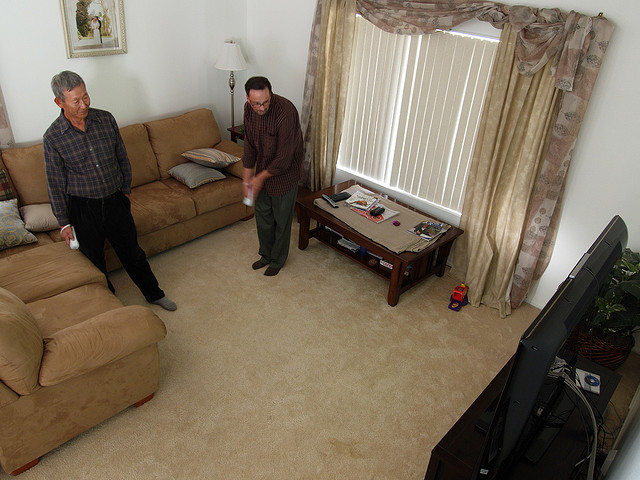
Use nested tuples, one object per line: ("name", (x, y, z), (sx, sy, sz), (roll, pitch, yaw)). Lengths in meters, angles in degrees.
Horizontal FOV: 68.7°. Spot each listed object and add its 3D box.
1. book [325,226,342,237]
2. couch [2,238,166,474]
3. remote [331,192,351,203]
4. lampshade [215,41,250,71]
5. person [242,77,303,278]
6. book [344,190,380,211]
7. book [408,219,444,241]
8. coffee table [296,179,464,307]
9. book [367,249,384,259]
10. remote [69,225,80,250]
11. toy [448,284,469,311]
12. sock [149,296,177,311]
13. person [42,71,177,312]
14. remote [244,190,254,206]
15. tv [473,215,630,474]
("book", (0.124, -0.096, 4.868), (0.144, 0.035, 0.093), (39, 18, 18))
("couch", (-1.755, 0.671, 3.234), (1.030, 0.994, 1.041), (-20, 37, -31))
("remote", (0.214, -0.447, 4.743), (0.151, 0.030, 0.096), (-21, 43, -30))
("lampshade", (-1.019, -2.113, 5.291), (0.297, 0.387, 0.351), (-5, 40, -10))
("person", (-0.428, -0.549, 4.230), (0.553, 1.800, 0.424), (-1, 29, -2))
("book", (0.423, -0.405, 4.739), (0.300, 0.036, 0.327), (18, 36, 25))
("book", (1.027, -0.116, 4.406), (0.230, 0.039, 0.382), (25, 40, 33))
("coffee table", (0.692, -0.196, 4.518), (1.022, 0.618, 1.536), (-28, 49, -34))
("book", (0.532, 0.136, 4.488), (0.089, 0.027, 0.089), (28, 20, 1))
("remote", (-1.914, -0.020, 3.658), (0.058, 0.198, 0.063), (-11, 10, -15))
("toy", (1.277, 0.532, 4.289), (0.137, 0.096, 0.257), (13, 44, 25))
("sock", (-1.362, 0.555, 4.091), (0.220, 0.101, 0.096), (13, 41, 13))
("person", (-1.789, -0.292, 3.878), (0.670, 2.179, 0.479), (-19, 42, -29))
("remote", (-0.645, -0.362, 4.199), (0.084, 0.069, 0.096), (7, 55, -22))
("tv", (1.496, 0.626, 2.930), (0.299, 0.936, 1.175), (26, 46, 29))
